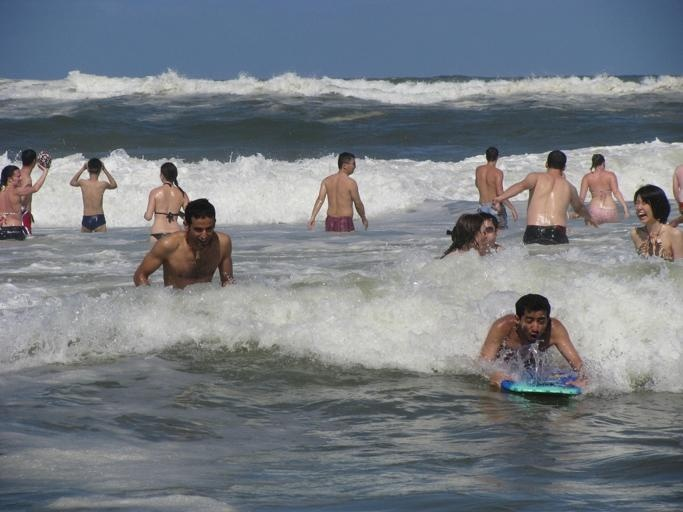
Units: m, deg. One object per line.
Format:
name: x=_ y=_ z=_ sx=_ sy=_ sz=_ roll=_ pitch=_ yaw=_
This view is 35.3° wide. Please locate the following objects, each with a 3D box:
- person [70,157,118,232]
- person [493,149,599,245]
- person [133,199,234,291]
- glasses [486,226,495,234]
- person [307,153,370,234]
person: x=-3.712 y=-0.621 z=15.952 sx=0.690 sy=1.686 sz=0.350 roll=3 pitch=15 yaw=-8
person: x=2.611 y=-0.736 z=13.492 sx=1.023 sy=1.171 sz=0.634 roll=1 pitch=5 yaw=11
person: x=-1.550 y=-0.133 z=11.274 sx=1.034 sy=0.961 sz=0.763 roll=5 pitch=6 yaw=40
glasses: x=1.677 y=-0.306 z=12.165 sx=0.084 sy=0.053 sz=0.061 roll=-4 pitch=10 yaw=-12
person: x=-0.065 y=-0.917 z=15.605 sx=0.824 sy=1.157 sz=0.712 roll=0 pitch=5 yaw=-1
